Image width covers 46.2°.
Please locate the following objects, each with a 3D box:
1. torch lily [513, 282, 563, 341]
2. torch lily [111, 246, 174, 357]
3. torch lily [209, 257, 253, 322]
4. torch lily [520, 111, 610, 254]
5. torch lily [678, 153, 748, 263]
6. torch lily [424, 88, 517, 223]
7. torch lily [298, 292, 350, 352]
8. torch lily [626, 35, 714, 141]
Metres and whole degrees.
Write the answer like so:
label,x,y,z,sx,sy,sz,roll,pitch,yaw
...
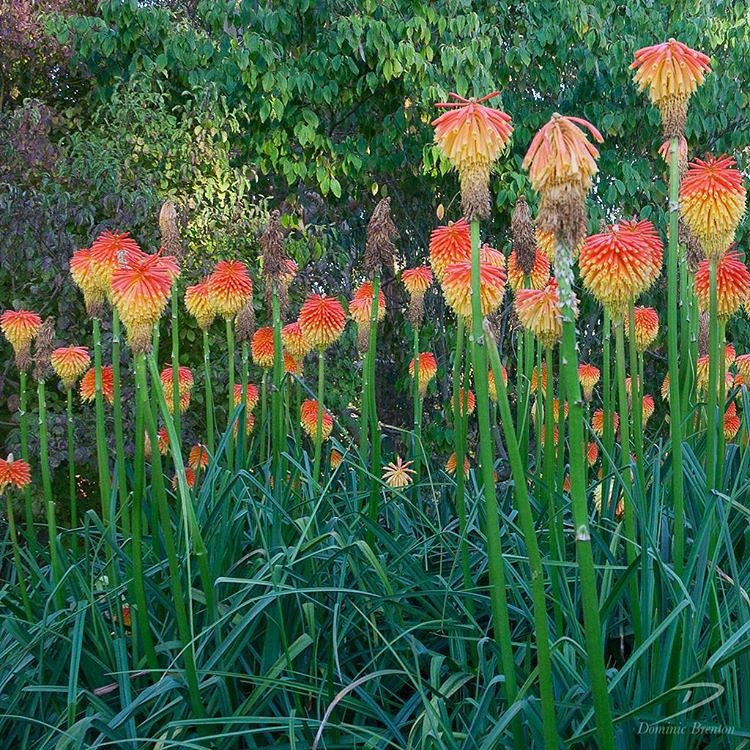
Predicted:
label,x,y,z,sx,sy,sz,roll,pitch,yaw
torch lily,0.463,-0.202,2.438,0.108,0.198,0.091,4,-23,-37
torch lily,-0.671,-0.214,2.506,0.151,0.233,0.296,0,13,5
torch lily,-0.555,-0.344,3.358,0.118,0.299,0.135,8,14,-18
torch lily,0.395,-0.399,1.802,0.155,0.268,0.190,-2,12,-5
torch lily,0.991,-0.493,2.578,0.186,0.283,0.422,4,14,20
torch lily,0.231,-0.525,2.125,0.197,0.310,0.397,1,13,8
torch lily,-0.204,-0.209,3.427,0.186,0.184,0.164,10,17,40
torch lily,0.805,-0.790,2.417,0.197,0.268,0.392,5,15,26
